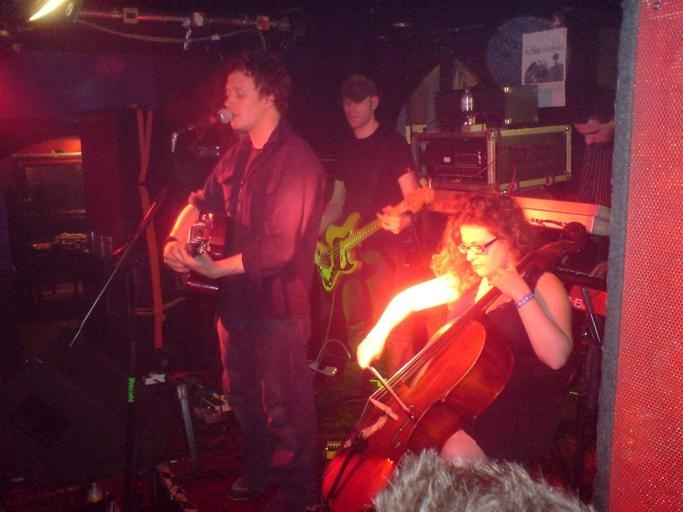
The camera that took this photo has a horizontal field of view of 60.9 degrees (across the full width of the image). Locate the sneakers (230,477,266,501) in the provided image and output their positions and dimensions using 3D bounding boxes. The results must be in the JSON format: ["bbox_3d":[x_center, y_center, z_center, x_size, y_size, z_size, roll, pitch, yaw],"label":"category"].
[{"bbox_3d":[-0.585,1.433,3.603,0.110,0.079,0.196,-9,-15,42],"label":"sneakers"}]

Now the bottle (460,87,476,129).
[{"bbox_3d":[0.966,-1.135,4.386,0.088,0.269,0.168,-2,9,-14],"label":"bottle"}]

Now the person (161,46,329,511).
[{"bbox_3d":[-0.481,0.168,3.385,0.727,2.676,0.474,0,8,-3],"label":"person"}]

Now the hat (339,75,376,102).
[{"bbox_3d":[0.152,-1.344,4.668,0.284,0.226,0.170,-2,9,-11],"label":"hat"}]

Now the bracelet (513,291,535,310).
[{"bbox_3d":[0.879,0.211,2.783,0.073,0.019,0.076,-33,-6,26],"label":"bracelet"}]

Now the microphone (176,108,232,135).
[{"bbox_3d":[-0.779,-0.789,3.386,0.322,0.142,0.204,3,9,14],"label":"microphone"}]

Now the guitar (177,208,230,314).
[{"bbox_3d":[-0.820,-0.018,3.382,0.242,0.476,0.192,-1,-8,26],"label":"guitar"}]

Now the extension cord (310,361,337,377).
[{"bbox_3d":[-0.149,1.008,5.141,0.317,0.085,0.174,3,2,24],"label":"extension cord"}]
